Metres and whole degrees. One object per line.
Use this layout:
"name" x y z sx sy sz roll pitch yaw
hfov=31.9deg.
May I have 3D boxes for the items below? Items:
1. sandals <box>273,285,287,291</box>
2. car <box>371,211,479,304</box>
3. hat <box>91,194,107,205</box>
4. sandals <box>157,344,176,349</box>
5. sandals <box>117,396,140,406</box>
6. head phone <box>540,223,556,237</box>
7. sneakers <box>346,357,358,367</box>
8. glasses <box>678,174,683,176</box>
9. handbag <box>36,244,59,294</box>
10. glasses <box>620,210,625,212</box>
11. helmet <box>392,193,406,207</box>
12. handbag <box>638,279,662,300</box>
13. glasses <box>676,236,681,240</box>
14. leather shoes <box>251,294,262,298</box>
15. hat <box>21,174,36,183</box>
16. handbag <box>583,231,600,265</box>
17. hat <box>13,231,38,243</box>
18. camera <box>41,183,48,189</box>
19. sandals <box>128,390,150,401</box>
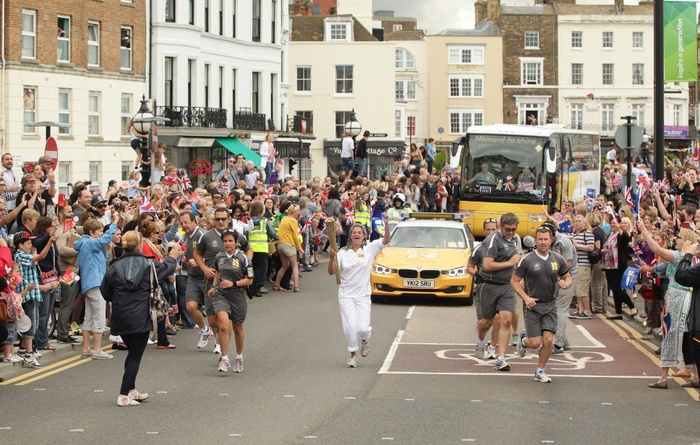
"sandals" -2.155 1.994 37.504 0.421 0.164 0.136 -5 13 1
"car" 2.072 1.093 34.909 2.673 2.191 6.098 0 0 8
"hat" -6.600 -0.601 32.263 0.339 0.162 0.490 -5 -1 -33
"sandals" -4.562 3.093 30.637 0.333 0.104 0.173 -1 1 9
"sandals" -4.826 3.874 26.683 0.406 0.163 0.220 -1 3 -18
"head phone" 4.578 0.179 28.763 0.115 0.270 0.312 -43 27 -15
"sneakers" 0.025 3.306 29.099 0.199 0.191 0.459 1 -4 1
"glasses" 10.760 -1.559 40.466 0.146 0.107 0.146 1 1 6
"handbag" -7.205 1.096 29.389 0.640 0.977 0.362 7 3 -19
"glasses" 7.590 -0.317 34.507 0.065 0.047 0.058 3 -3 8
"helmet" 1.567 -0.815 41.527 0.371 0.454 0.461 2 46 11
"handbag" 7.298 1.635 30.076 0.597 0.548 0.435 4 2 15
"glasses" 7.461 0.342 28.159 0.100 0.115 0.323 0 -1 6
"leather shoes" -2.798 2.160 36.513 0.345 0.143 0.105 -3 4 -4
"hat" -8.296 -1.141 31.700 0.230 0.119 0.368 -5 0 -36
"handbag" 6.662 0.744 33.638 0.533 0.722 0.741 3 12 11
"hat" -7.689 0.345 29.177 0.240 0.268 0.582 1 8 32
"camera" -8.234 -0.999 33.353 0.181 0.057 0.181 5 15 16
"sandals" -4.606 3.777 26.890 0.413 0.168 0.184 1 9 3
